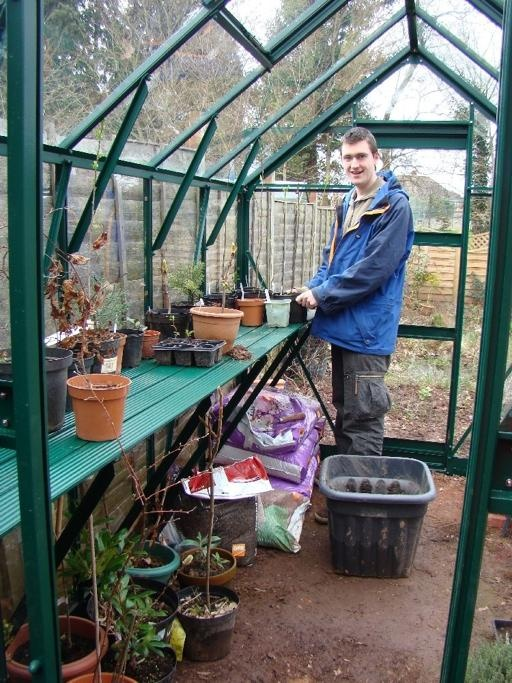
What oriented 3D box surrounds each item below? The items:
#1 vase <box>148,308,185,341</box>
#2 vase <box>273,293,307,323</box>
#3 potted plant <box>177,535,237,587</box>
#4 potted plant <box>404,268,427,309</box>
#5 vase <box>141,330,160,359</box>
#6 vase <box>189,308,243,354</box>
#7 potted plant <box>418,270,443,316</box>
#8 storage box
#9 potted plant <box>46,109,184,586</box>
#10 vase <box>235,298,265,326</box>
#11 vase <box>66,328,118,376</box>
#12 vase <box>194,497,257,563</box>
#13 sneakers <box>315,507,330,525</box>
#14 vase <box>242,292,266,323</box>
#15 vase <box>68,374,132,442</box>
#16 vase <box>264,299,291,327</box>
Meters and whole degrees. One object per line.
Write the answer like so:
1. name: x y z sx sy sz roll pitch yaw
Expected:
1. vase: -0.449 -0.088 2.631 0.161 0.117 0.160 3 4 3
2. vase: 0.228 -0.220 3.540 0.216 0.137 0.215 2 2 9
3. potted plant: -0.221 0.991 2.328 0.314 0.162 0.332 1 0 2
4. potted plant: 1.366 -0.468 4.519 0.205 0.295 0.299 5 -2 -8
5. vase: -0.503 0.009 2.455 0.122 0.119 0.118 -1 9 -15
6. vase: -0.195 -0.075 2.577 0.239 0.175 0.234 6 10 25
7. potted plant: 1.440 -0.407 4.377 0.147 0.362 0.258 4 8 7
8. storage box: 0.663 0.989 2.975 0.690 0.495 0.654 -1 7 -6
9. potted plant: -0.478 0.093 1.701 0.323 1.107 0.410 -10 -27 21
10. vase: -0.029 -0.193 3.375 0.180 0.154 0.168 1 7 20
11. vase: -0.538 0.030 1.744 0.153 0.110 0.139 -4 8 -38
12. vase: -0.108 0.993 2.867 0.356 0.388 0.368 -1 0 5
13. sneakers: 0.444 1.168 3.510 0.055 0.058 0.138 2 9 5
14. vase: -0.023 -0.207 3.435 0.160 0.136 0.153 1 6 -4
15. vase: -0.409 0.176 1.472 0.187 0.150 0.177 -3 8 -40
16. vase: 0.132 -0.178 3.337 0.177 0.170 0.170 0 -1 1
